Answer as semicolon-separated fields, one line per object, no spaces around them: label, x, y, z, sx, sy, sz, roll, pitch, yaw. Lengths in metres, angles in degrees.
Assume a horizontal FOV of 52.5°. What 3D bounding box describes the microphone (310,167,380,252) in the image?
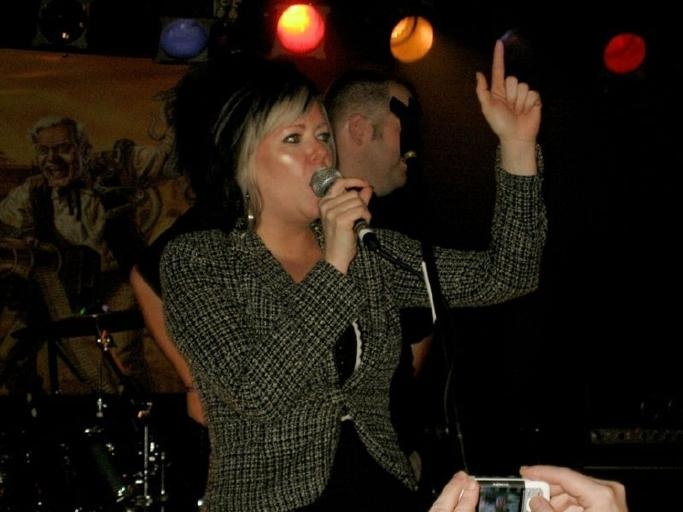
microphone;0.072;-0.236;3.353;0.189;0.188;0.620;35;12;-42
